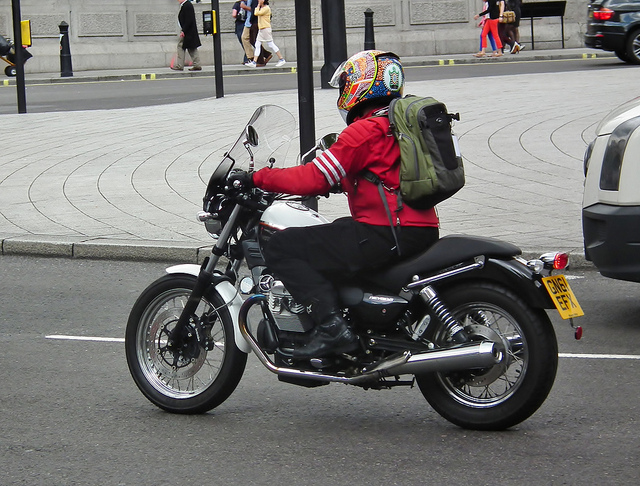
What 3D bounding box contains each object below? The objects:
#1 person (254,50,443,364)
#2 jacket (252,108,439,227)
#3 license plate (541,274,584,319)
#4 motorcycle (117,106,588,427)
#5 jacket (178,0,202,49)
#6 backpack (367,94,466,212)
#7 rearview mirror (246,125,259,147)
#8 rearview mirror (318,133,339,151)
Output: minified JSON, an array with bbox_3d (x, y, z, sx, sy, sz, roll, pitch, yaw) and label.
[{"bbox_3d":[0.145,-0.179,3.532,0.970,1.653,0.380,-2,10,-3],"label":"person"},{"bbox_3d":[0.221,-0.332,3.631,1.130,0.525,0.586,5,10,32],"label":"jacket"},{"bbox_3d":[1.197,0.264,3.258,0.246,0.223,0.004,-4,-24,-46],"label":"license plate"},{"bbox_3d":[0.022,0.173,3.798,2.786,1.535,0.999,-1,-2,28],"label":"motorcycle"},{"bbox_3d":[-5.202,-8.550,26.192,0.762,1.679,1.313,-4,10,-11],"label":"jacket"},{"bbox_3d":[0.492,-0.473,3.444,0.413,0.539,0.413,-9,6,41],"label":"backpack"},{"bbox_3d":[-0.369,-0.573,3.604,0.024,0.094,0.080,-19,-10,38],"label":"rearview mirror"},{"bbox_3d":[0.028,-0.528,3.537,0.103,0.046,0.102,-23,15,-27],"label":"rearview mirror"}]
